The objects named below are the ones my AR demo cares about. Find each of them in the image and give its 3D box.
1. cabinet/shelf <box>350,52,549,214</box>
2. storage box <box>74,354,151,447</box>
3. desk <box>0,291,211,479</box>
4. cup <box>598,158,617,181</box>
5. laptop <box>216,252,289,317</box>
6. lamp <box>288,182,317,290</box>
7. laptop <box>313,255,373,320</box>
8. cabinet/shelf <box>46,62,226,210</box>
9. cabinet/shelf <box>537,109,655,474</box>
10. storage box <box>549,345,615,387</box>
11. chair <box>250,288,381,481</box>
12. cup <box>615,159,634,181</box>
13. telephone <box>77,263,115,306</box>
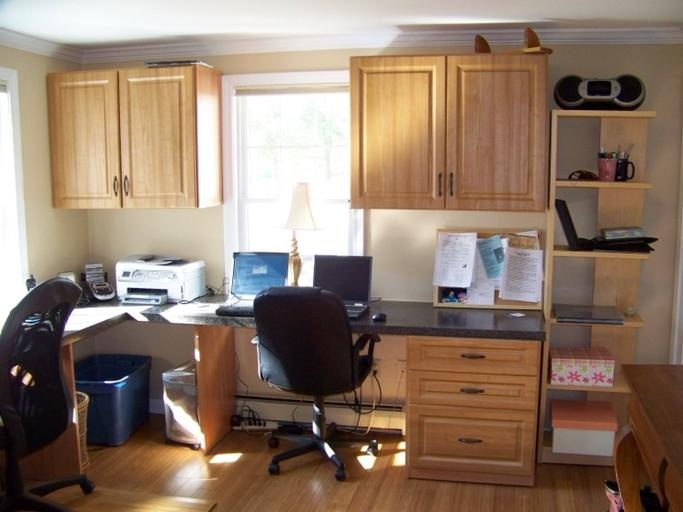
[{"bbox_3d":[0.679,-0.768,3.607,0.991,0.718,0.375,1,5,8],"label":"cabinet/shelf"},{"bbox_3d":[-1.659,1.007,4.153,0.419,0.387,0.614,1,2,8],"label":"storage box"},{"bbox_3d":[-1.426,0.852,3.695,0.889,0.921,1.306,1,7,6],"label":"desk"},{"bbox_3d":[1.595,-0.515,3.567,0.102,0.143,0.070,0,9,19],"label":"cup"},{"bbox_3d":[-0.593,0.136,3.937,0.502,0.418,0.393,1,4,9],"label":"laptop"},{"bbox_3d":[-0.292,-0.119,3.859,0.220,0.656,0.216,3,5,-17],"label":"lamp"},{"bbox_3d":[0.040,0.218,4.009,0.462,0.442,0.362,1,0,10],"label":"laptop"},{"bbox_3d":[-1.426,-0.779,4.180,1.149,0.930,0.434,2,6,18],"label":"cabinet/shelf"},{"bbox_3d":[1.814,-0.062,3.891,0.690,3.026,1.023,-2,21,25],"label":"cabinet/shelf"},{"bbox_3d":[1.471,0.628,3.723,0.334,0.155,0.230,0,4,9],"label":"storage box"},{"bbox_3d":[-0.142,0.739,3.590,0.731,1.230,0.544,-3,9,3],"label":"chair"},{"bbox_3d":[1.732,-0.521,3.637,0.060,0.137,0.209,4,11,40],"label":"cup"},{"bbox_3d":[-1.748,0.236,4.241,0.174,0.262,0.268,-5,30,-25],"label":"telephone"}]
